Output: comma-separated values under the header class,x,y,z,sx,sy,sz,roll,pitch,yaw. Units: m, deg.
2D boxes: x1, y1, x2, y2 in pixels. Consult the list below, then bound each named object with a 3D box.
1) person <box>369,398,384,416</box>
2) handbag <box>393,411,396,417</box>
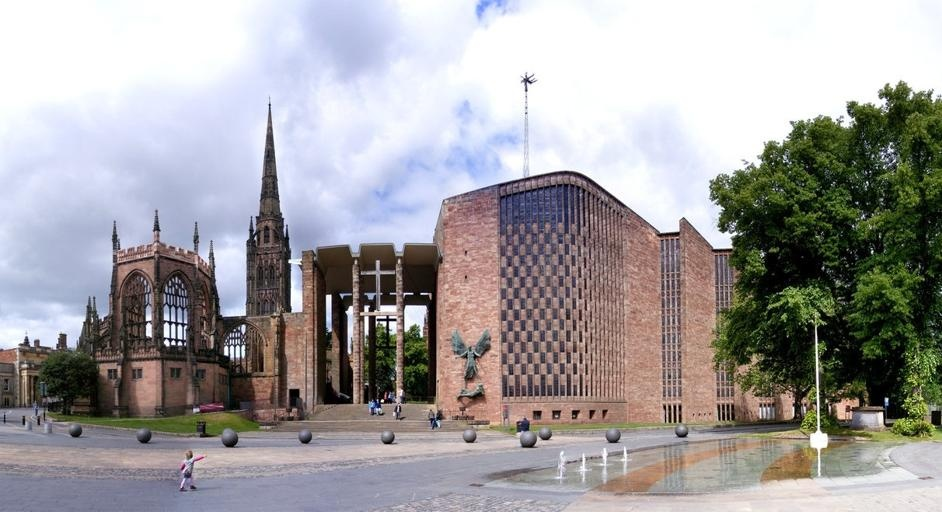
class,x,y,z,sx,sy,sz,roll,pitch,yaw
person,-9.418,15.114,91.081,1.419,1.406,0.587,3,-17,-24
handbag,-7.260,15.263,88.115,0.434,0.363,0.369,-2,-22,-1
